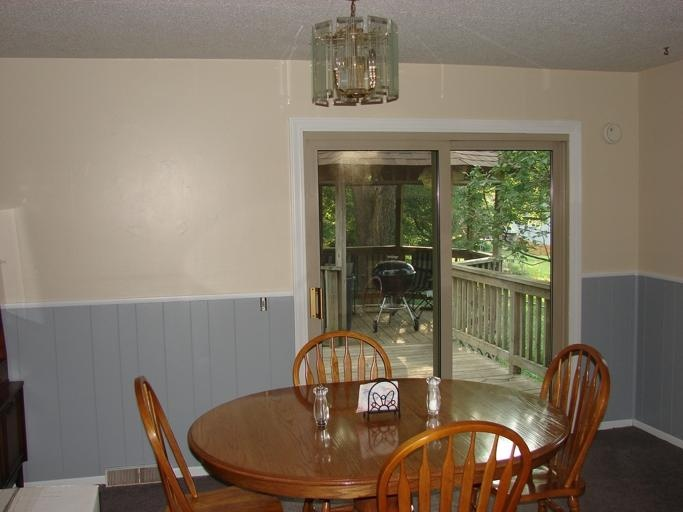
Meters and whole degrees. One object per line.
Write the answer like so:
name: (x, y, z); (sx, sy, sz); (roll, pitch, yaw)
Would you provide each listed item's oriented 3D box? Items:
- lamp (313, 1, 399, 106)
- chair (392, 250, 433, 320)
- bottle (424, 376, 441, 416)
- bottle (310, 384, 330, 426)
lamp: (0.096, -0.965, 2.660); (0.418, 0.486, 0.428); (4, 15, 19)
chair: (0.596, 0.238, 4.260); (0.348, 0.484, 0.379); (-8, 5, 39)
bottle: (0.474, 0.692, 2.746); (0.077, 0.187, 0.178); (1, 11, 9)
bottle: (-0.098, 0.725, 2.638); (0.082, 0.194, 0.160); (-2, 11, -3)
